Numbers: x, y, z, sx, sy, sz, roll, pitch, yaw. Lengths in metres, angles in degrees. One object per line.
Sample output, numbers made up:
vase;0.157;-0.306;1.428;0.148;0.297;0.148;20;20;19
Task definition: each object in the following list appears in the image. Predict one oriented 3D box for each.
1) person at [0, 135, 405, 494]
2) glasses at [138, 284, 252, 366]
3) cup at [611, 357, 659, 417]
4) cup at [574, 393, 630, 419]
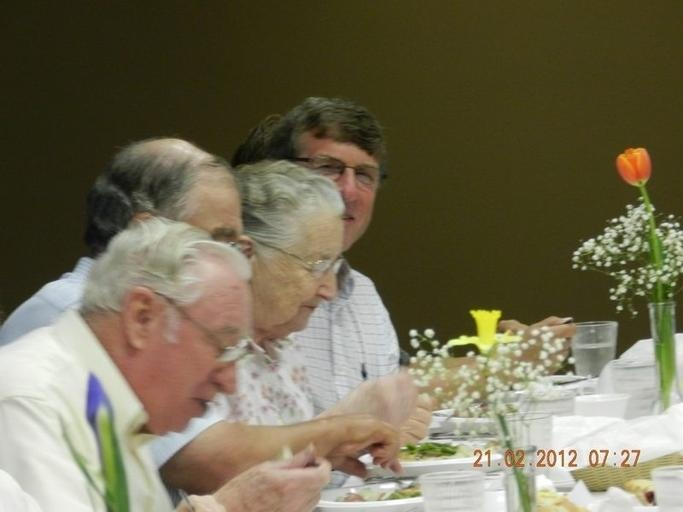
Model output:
person;-0.447;0.114;3.217;1.388;0.870;0.930;-1;2;-1
glasses;-0.324;0.174;2.403;0.213;0.078;0.152;31;7;-9
cup;0.925;0.419;3.210;0.185;0.162;0.162;0;-11;-3
cup;0.815;0.477;3.222;0.111;0.062;0.097;1;-6;-1
